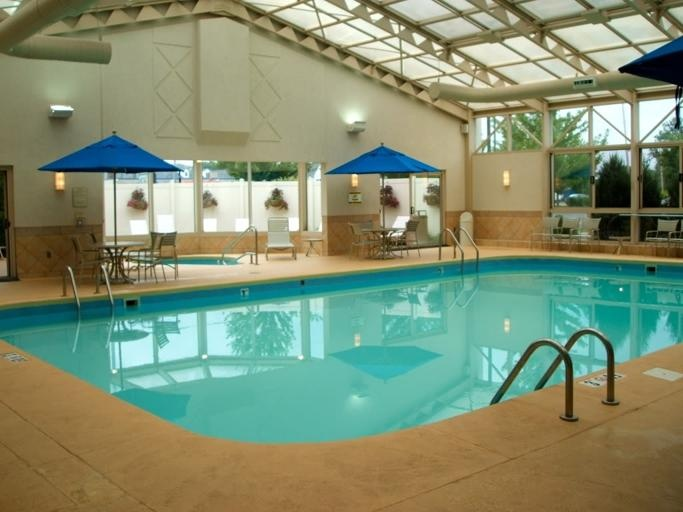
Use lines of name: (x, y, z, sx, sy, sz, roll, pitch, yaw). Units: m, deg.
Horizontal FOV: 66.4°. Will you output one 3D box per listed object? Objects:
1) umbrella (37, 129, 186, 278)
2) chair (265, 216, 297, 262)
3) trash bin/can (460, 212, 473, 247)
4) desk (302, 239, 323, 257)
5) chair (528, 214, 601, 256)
umbrella: (-4.767, -1.143, 11.375, 2.694, 2.827, 2.847, 0, 2, 0)
chair: (-1.780, -0.565, 14.884, 0.773, 1.193, 1.359, 0, 1, -8)
trash bin/can: (4.247, -0.940, 17.715, 0.475, 1.139, 1.261, 0, 4, 13)
desk: (-0.861, -0.286, 16.022, 0.566, 0.484, 1.220, -2, 4, -4)
chair: (6.890, -0.768, 16.154, 1.936, 1.071, 0.851, 1, 4, 28)
